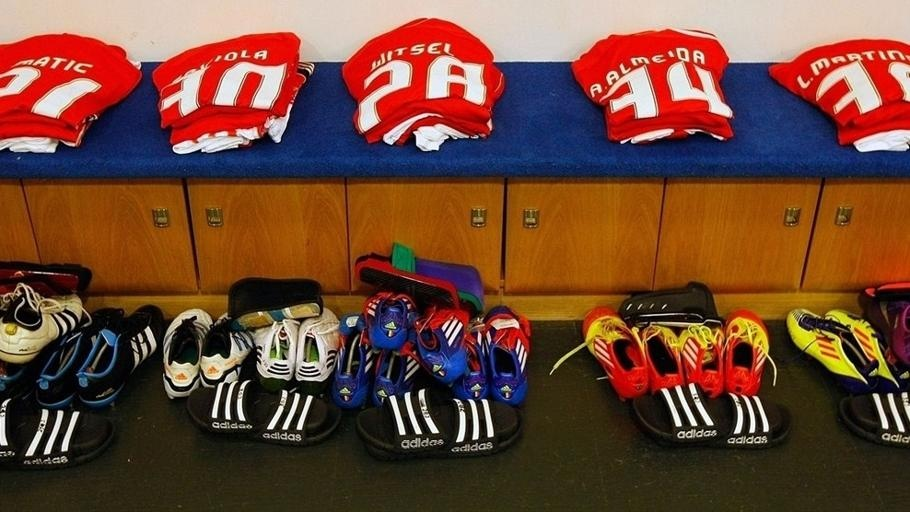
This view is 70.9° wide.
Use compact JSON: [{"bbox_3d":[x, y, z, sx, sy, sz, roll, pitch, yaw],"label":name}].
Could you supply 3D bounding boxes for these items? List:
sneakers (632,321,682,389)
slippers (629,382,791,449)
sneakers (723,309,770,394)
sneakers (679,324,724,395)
[{"bbox_3d":[0.868,0.421,2.727,0.154,0.102,0.278,-9,42,8],"label":"sneakers"},{"bbox_3d":[1.021,0.650,2.551,0.602,0.159,0.247,3,43,3],"label":"slippers"},{"bbox_3d":[1.231,0.375,2.760,0.186,0.162,0.412,4,47,18],"label":"sneakers"},{"bbox_3d":[1.050,0.444,2.734,0.165,0.111,0.283,-1,51,7],"label":"sneakers"}]
